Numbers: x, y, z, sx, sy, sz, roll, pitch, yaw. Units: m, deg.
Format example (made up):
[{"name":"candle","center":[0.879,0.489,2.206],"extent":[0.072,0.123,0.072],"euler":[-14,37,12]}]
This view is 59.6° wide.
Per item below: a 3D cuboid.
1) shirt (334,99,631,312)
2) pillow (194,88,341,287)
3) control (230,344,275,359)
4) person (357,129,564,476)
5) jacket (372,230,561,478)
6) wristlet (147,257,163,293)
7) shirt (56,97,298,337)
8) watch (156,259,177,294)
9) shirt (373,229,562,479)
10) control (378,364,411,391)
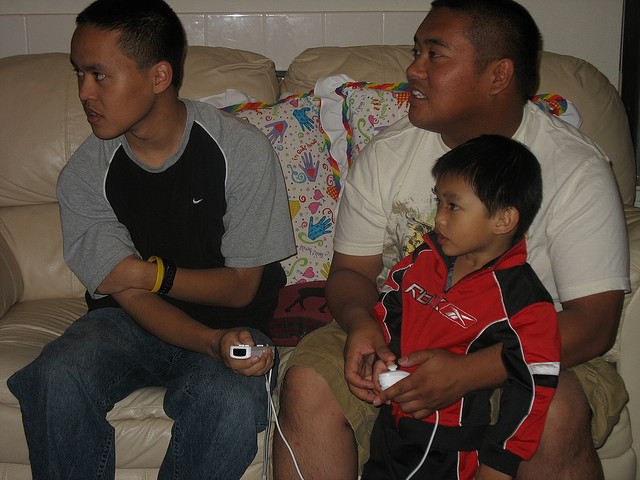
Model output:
[{"name":"shirt","center":[0.450,-0.082,1.589],"extent":[0.571,0.461,0.272],"euler":[18,18,24]},{"name":"pillow","center":[-0.083,-0.183,2.345],"extent":[0.573,0.691,0.195],"euler":[-5,-9,-8]},{"name":"control","center":[-0.182,0.308,1.530],"extent":[0.114,0.034,0.027],"euler":[0,3,-4]},{"name":"person","center":[0.396,0.186,1.516],"extent":[0.509,0.856,0.573],"euler":[4,24,14]},{"name":"jacket","center":[0.383,0.313,1.437],"extent":[0.199,0.441,0.458],"euler":[13,18,-44]},{"name":"wristlet","center":[-0.481,0.109,1.661],"extent":[0.021,0.089,0.080],"euler":[0,-25,-35]},{"name":"shirt","center":[-0.465,-0.053,1.832],"extent":[0.721,0.754,0.412],"euler":[-4,19,-3]},{"name":"watch","center":[-0.462,0.102,1.676],"extent":[0.044,0.087,0.087],"euler":[5,32,-2]},{"name":"shirt","center":[0.385,0.315,1.436],"extent":[0.255,0.437,0.454],"euler":[12,21,-43]},{"name":"control","center":[0.191,0.349,1.401],"extent":[0.058,0.048,0.053],"euler":[7,-14,-18]}]
